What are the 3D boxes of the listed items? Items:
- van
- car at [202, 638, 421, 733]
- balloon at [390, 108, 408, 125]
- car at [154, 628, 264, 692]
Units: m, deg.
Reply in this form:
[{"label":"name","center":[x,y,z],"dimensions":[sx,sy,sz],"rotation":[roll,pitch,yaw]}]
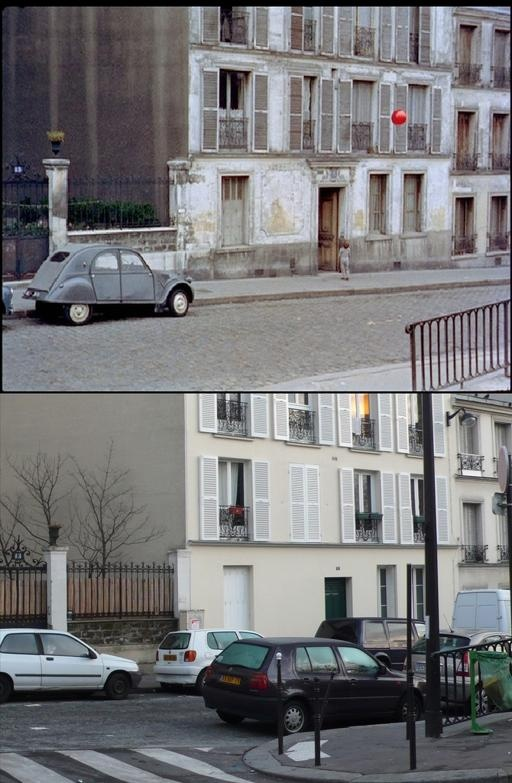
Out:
[{"label":"van","center":[2.450,5.014,36.735],"dimensions":[2.362,1.549,1.387],"rotation":[4,-12,-40]},{"label":"car","center":[1.134,4.693,31.172],"dimensions":[3.390,1.771,2.209],"rotation":[1,-6,-28]},{"label":"balloon","center":[3.085,-5.950,42.080],"dimensions":[0.239,0.420,0.301],"rotation":[-1,17,-7]},{"label":"car","center":[-0.739,5.158,35.947],"dimensions":[1.275,1.513,2.592],"rotation":[-8,-16,40]}]
